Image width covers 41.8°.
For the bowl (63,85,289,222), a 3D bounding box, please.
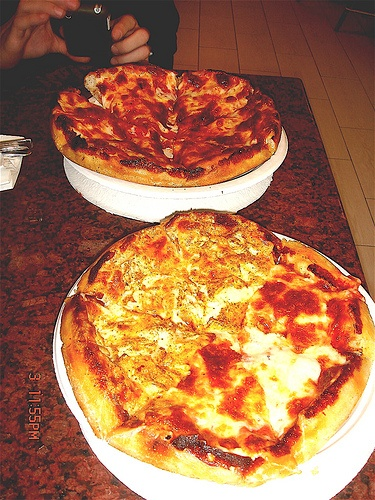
[{"bbox_3d":[0.051,-0.190,0.873,0.272,0.269,0.055,-4,74,37],"label":"bowl"}]
